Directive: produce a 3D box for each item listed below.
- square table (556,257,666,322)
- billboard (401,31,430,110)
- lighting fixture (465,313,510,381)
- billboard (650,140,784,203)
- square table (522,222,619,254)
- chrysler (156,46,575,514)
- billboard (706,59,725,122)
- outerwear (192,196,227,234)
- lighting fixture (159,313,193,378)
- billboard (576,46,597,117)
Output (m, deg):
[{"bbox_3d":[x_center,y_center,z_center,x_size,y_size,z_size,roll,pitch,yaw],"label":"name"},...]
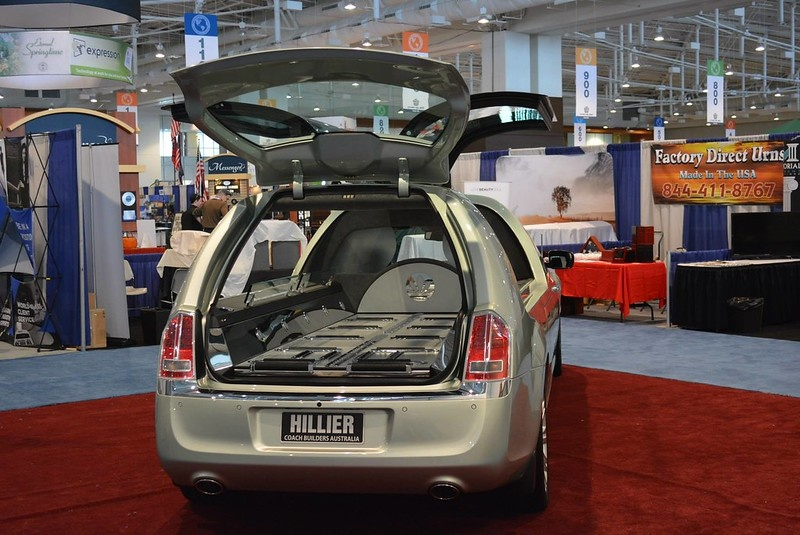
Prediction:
[{"bbox_3d":[3.007,0.184,9.151,1.204,0.623,1.415,2,3,42],"label":"square table"},{"bbox_3d":[0.350,-4.398,14.102,0.754,1.752,0.016,-15,24,-38],"label":"billboard"},{"bbox_3d":[0.388,0.354,2.844,0.197,0.296,0.119,0,5,5],"label":"lighting fixture"},{"bbox_3d":[5.604,-1.641,11.142,2.603,1.187,0.031,-2,5,-7],"label":"billboard"},{"bbox_3d":[3.400,-0.674,12.671,1.743,0.418,1.101,-1,3,-7],"label":"square table"},{"bbox_3d":[-0.126,-0.296,4.256,2.006,1.861,3.427,1,13,8],"label":"chrysler"},{"bbox_3d":[9.921,-5.574,19.928,0.822,2.055,0.031,-5,6,-27],"label":"billboard"},{"bbox_3d":[-3.056,-0.869,10.339,0.661,0.518,0.244,10,-3,17],"label":"outerwear"},{"bbox_3d":[-1.044,0.363,2.974,0.188,0.298,0.137,0,5,0],"label":"lighting fixture"},{"bbox_3d":[4.865,-4.879,16.532,0.609,1.789,0.352,-1,5,-5],"label":"billboard"}]
